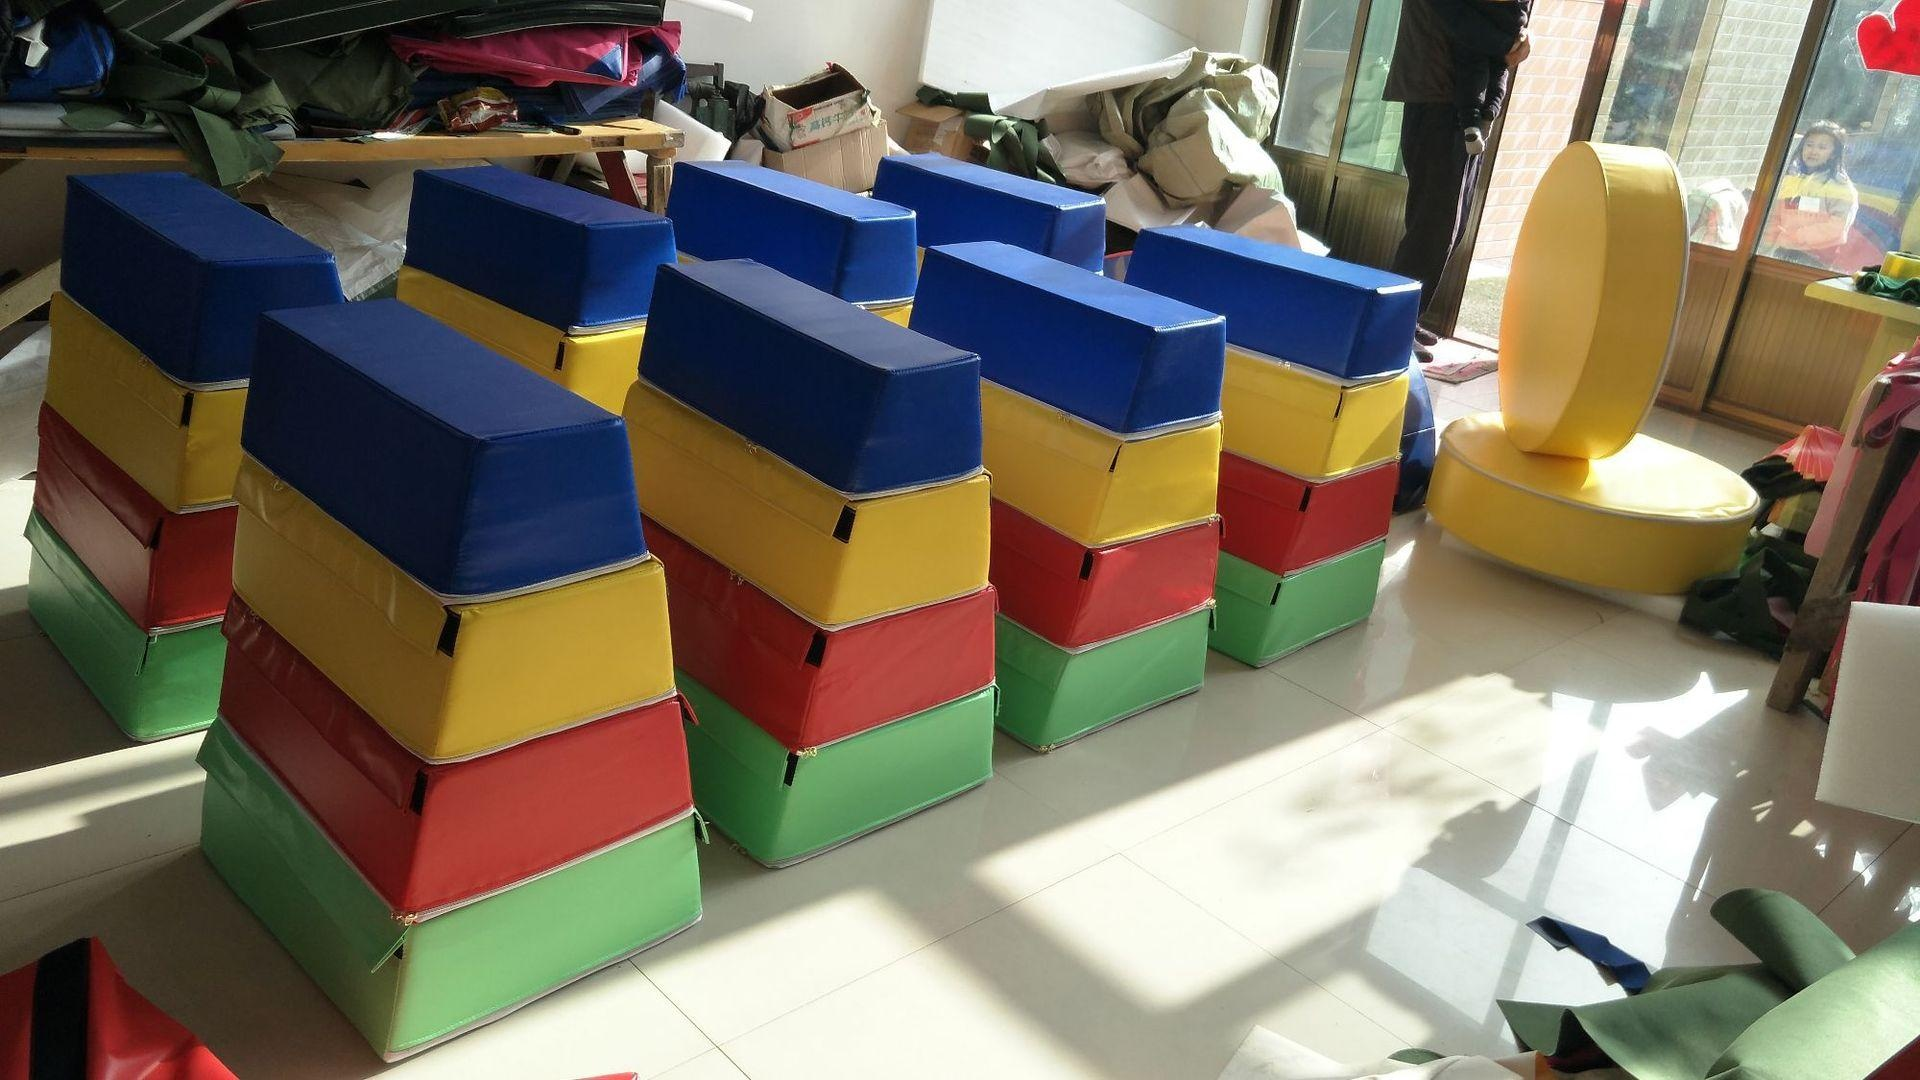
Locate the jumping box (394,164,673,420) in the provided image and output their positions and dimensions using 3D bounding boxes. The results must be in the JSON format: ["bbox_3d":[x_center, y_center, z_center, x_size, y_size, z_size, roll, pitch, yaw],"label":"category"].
[{"bbox_3d":[-1.199,-0.675,3.571,0.835,0.388,0.425,30,28,17],"label":"jumping box"}]

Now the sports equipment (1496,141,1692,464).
[{"bbox_3d":[2.308,-0.854,4.667,0.446,1.092,0.579,3,31,1],"label":"sports equipment"}]

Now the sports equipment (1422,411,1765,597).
[{"bbox_3d":[2.340,-0.059,4.680,0.815,0.193,0.779,13,21,-3],"label":"sports equipment"}]

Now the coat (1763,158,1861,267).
[{"bbox_3d":[4.079,-1.570,6.058,0.230,0.368,0.381,-24,46,-32],"label":"coat"}]

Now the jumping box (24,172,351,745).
[{"bbox_3d":[-2.018,-0.161,3.315,0.784,1.359,1.129,-8,32,-43],"label":"jumping box"}]

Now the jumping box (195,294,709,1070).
[{"bbox_3d":[-1.305,0.311,3.049,0.993,1.457,1.142,-23,39,-36],"label":"jumping box"}]
